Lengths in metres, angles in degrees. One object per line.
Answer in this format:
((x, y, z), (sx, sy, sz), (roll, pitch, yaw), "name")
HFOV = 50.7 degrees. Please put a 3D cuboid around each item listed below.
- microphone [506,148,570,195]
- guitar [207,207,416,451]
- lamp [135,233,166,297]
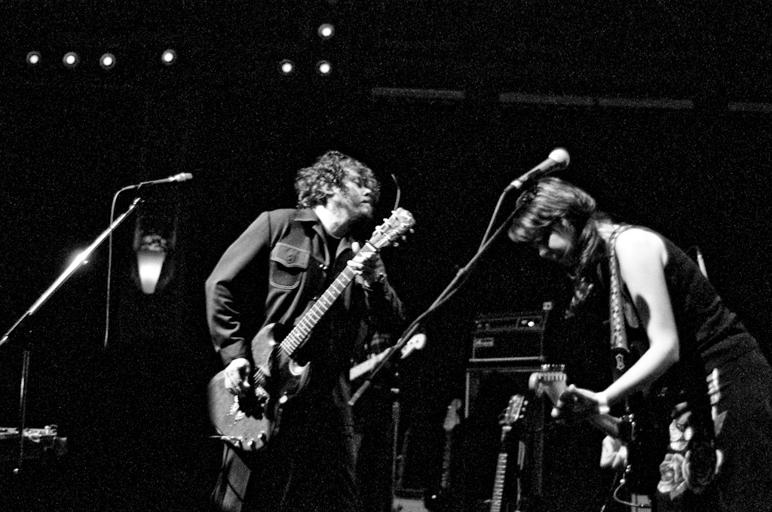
((0.970, -0.530, 5.111), (0.529, 0.148, 0.168), (-34, 38, -17), "microphone")
((-0.649, 0.601, 4.924), (0.495, 1.393, 0.164), (28, 30, -8), "guitar")
((-1.719, 0.061, 5.949), (0.249, 0.374, 0.086), (2, -2, 11), "lamp")
